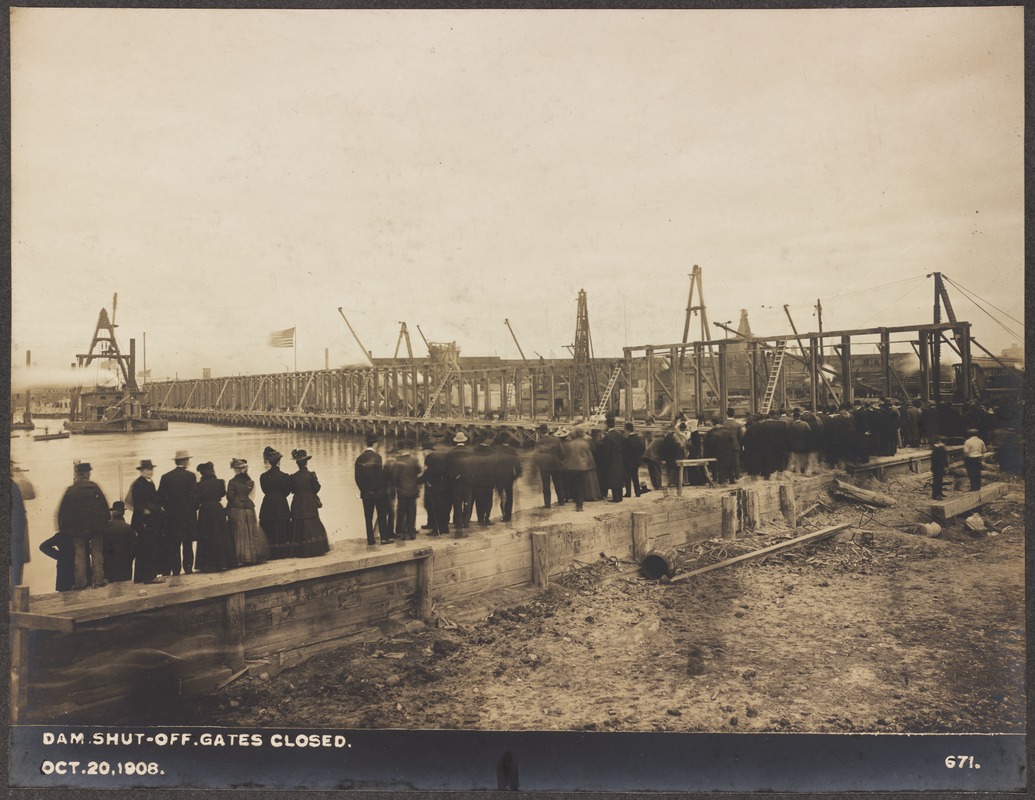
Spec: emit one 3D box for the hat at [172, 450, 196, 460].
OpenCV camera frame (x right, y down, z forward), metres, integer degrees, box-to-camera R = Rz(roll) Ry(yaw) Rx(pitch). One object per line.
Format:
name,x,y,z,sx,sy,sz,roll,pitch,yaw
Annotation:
hat,-4.783,0.768,17.349,0.249,0.141,0.576,-4,0,-15

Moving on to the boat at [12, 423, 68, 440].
boat,-6.907,0.436,17.559,0.787,0.298,0.352,-4,1,-29

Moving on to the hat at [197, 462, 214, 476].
hat,-4.396,0.959,17.104,0.174,0.175,0.167,-11,-4,10

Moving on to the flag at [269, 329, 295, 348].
flag,-3.478,-0.950,18.011,0.386,0.298,0.164,-4,0,9

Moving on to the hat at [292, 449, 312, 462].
hat,-3.126,0.791,17.638,0.163,0.191,0.425,-4,0,12

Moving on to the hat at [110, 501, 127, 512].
hat,-5.552,1.465,16.919,0.128,0.133,0.134,1,0,-21

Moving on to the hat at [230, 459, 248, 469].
hat,-3.974,0.884,17.349,0.217,0.149,0.317,-4,0,5
